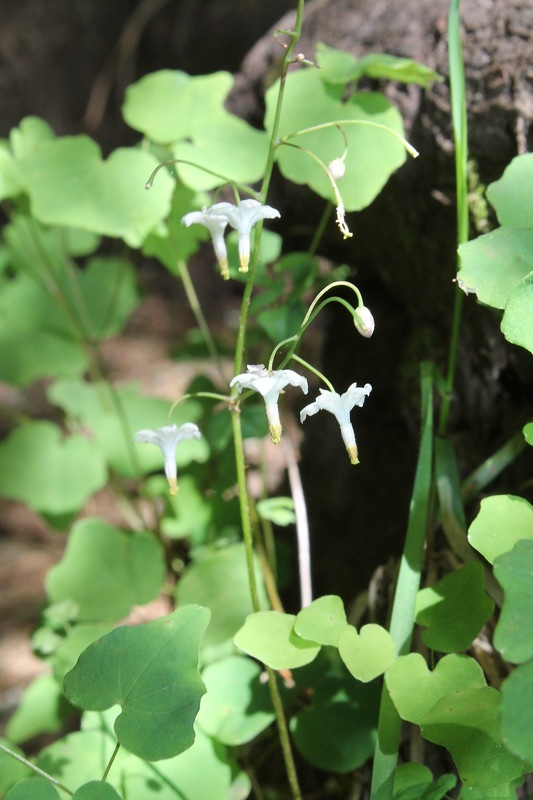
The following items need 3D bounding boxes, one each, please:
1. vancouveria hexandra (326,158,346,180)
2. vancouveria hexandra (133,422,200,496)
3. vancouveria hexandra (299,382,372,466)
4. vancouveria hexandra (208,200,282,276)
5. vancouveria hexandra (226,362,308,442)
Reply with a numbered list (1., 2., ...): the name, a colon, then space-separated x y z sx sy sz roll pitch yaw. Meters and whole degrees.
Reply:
1. vancouveria hexandra: 0.126 -0.415 1.395 0.025 0.034 0.060 -11 27 13
2. vancouveria hexandra: -0.177 0.103 1.436 0.144 0.122 0.134 -1 -16 -7
3. vancouveria hexandra: 0.137 0.049 1.389 0.138 0.136 0.112 -9 -10 0
4. vancouveria hexandra: -0.038 -0.309 1.420 0.142 0.122 0.132 -1 -11 0
5. vancouveria hexandra: 0.006 0.009 1.353 0.144 0.122 0.134 -8 -11 14
